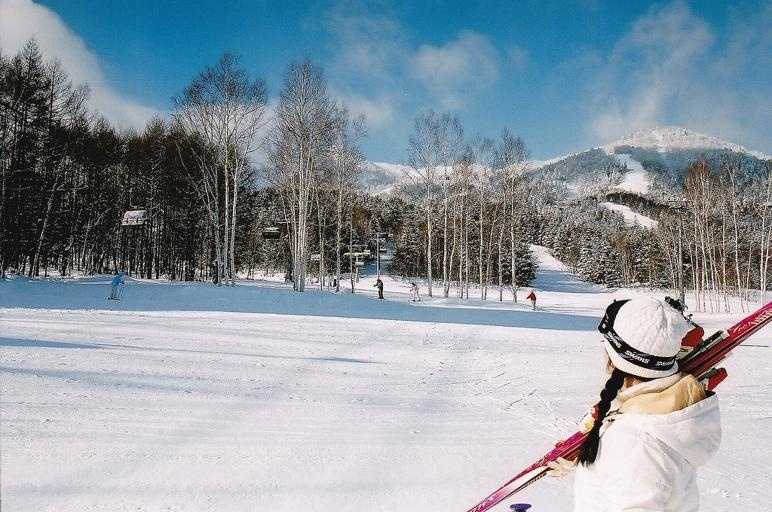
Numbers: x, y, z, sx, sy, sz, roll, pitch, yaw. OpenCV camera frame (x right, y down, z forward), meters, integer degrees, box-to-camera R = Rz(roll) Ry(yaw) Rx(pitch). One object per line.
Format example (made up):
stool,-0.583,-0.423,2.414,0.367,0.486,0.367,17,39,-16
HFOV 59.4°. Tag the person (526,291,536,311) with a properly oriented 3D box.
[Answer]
person,9.461,2.934,43.814,0.475,1.012,0.742,-21,19,-6
